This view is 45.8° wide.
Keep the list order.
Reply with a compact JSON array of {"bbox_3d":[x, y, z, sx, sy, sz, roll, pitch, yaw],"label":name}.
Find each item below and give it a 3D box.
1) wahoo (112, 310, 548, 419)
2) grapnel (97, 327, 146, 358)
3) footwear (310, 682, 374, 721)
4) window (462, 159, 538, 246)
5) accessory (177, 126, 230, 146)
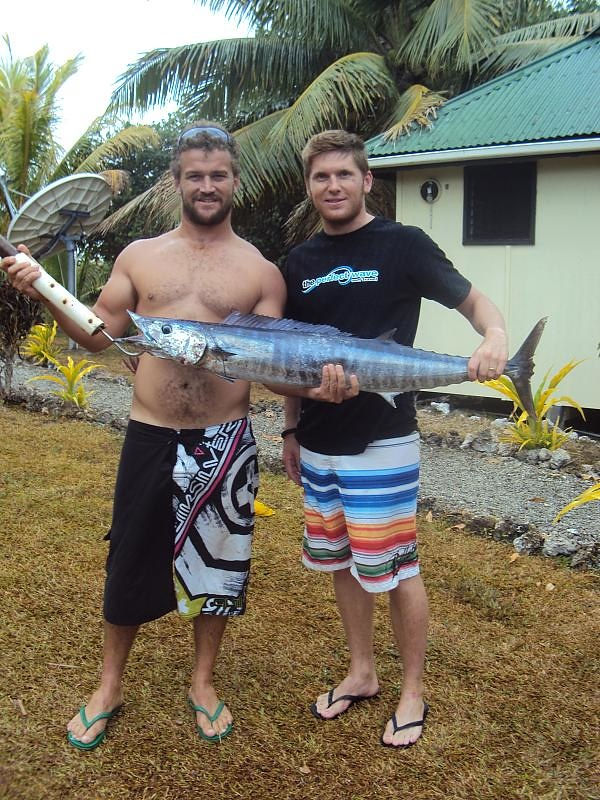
[{"bbox_3d":[0.037,-0.152,2.250,1.405,0.294,0.263,7,13,18],"label":"wahoo"},{"bbox_3d":[-0.581,-0.176,2.304,0.080,0.054,0.203,-39,33,-17],"label":"grapnel"},{"bbox_3d":[0.160,1.135,2.677,0.230,0.047,0.084,-6,8,-23],"label":"footwear"},{"bbox_3d":[2.232,-2.232,7.868,0.997,0.999,0.082,6,15,34],"label":"window"},{"bbox_3d":[-0.330,-0.914,2.446,0.184,0.076,0.132,-2,11,-14],"label":"accessory"}]
